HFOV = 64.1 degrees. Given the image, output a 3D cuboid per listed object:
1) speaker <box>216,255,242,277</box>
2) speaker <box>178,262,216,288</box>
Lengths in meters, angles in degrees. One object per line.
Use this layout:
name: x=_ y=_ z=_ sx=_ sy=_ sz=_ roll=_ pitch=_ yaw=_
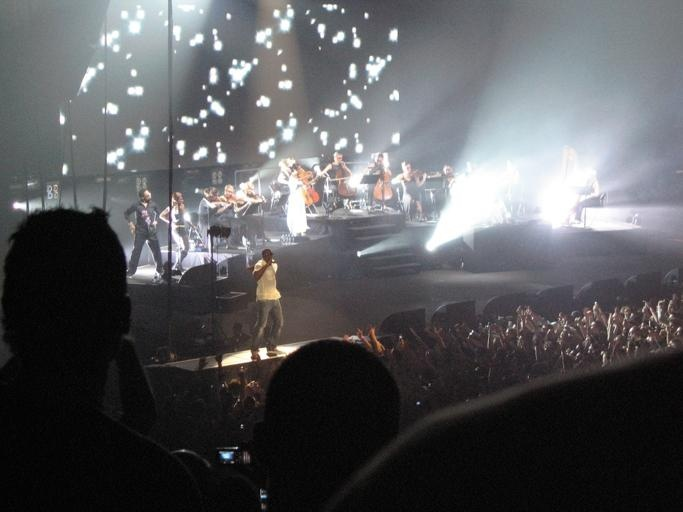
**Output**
speaker: x=-2.133 y=0.189 z=10.528 sx=0.380 sy=0.271 sz=0.391 roll=11 pitch=19 yaw=42
speaker: x=-2.537 y=0.360 z=9.614 sx=0.392 sy=0.287 sz=0.428 roll=-4 pitch=4 yaw=16
